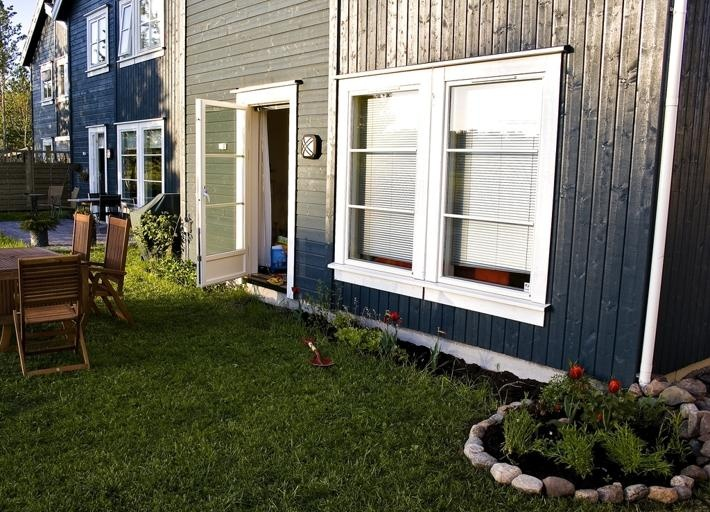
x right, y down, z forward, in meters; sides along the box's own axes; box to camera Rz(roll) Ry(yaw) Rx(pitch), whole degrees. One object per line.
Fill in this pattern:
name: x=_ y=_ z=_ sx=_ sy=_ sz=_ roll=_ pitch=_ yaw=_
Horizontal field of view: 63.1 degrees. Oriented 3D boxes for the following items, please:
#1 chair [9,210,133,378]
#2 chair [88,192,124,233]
chair: x=-3.027 y=0.331 z=6.300 sx=0.927 sy=1.255 sz=1.723 roll=-3 pitch=20 yaw=-24
chair: x=-4.817 y=-0.872 z=11.148 sx=0.771 sy=0.857 sz=0.561 roll=2 pitch=19 yaw=-8
